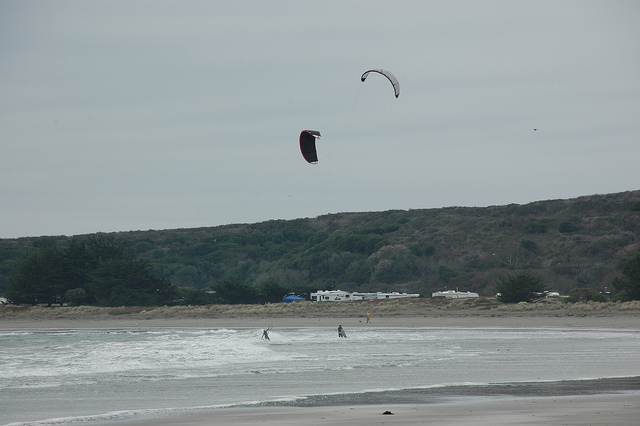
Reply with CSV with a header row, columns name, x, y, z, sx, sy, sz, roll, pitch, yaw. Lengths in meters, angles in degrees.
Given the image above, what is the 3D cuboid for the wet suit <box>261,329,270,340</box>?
name,x,y,z,sx,sy,sz,roll,pitch,yaw
wet suit,-6.664,14.938,185.789,1.334,1.010,0.200,-14,-51,-6

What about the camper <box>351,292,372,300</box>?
name,x,y,z,sx,sy,sz,roll,pitch,yaw
camper,7.055,13.703,247.782,3.197,0.790,8.393,-1,8,1

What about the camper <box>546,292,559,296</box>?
name,x,y,z,sx,sy,sz,roll,pitch,yaw
camper,37.057,12.763,238.724,1.612,0.357,1.567,0,1,32

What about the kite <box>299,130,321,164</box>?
name,x,y,z,sx,sy,sz,roll,pitch,yaw
kite,-1.140,-7.597,175.527,2.024,3.579,1.253,3,11,29

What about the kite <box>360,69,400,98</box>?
name,x,y,z,sx,sy,sz,roll,pitch,yaw
kite,6.874,-15.023,171.131,4.801,4.087,1.038,19,-51,-25
